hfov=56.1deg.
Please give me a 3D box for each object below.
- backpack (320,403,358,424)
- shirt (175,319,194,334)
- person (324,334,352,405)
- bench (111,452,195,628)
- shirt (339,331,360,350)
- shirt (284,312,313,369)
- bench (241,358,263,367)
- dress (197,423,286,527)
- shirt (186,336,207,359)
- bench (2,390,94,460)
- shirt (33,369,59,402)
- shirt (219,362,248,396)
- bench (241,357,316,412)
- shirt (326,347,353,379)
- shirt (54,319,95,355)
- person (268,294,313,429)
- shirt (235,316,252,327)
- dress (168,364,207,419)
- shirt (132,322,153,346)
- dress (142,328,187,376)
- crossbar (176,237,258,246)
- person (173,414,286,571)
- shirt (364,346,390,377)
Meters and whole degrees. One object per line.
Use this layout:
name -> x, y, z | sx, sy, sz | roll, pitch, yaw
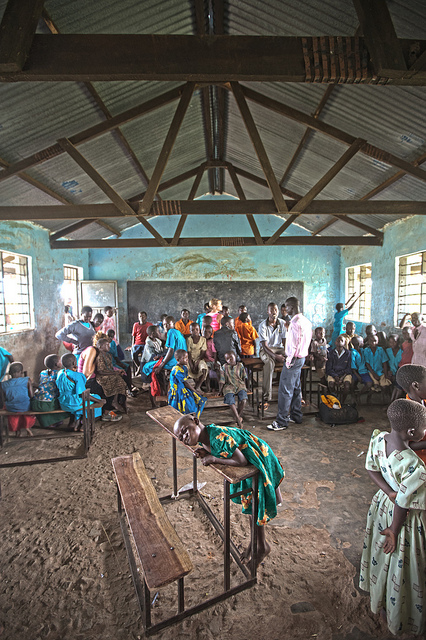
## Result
backpack -> 1.562, 1.152, 4.900 | 0.269, 0.112, 0.275 | 0, 0, 3
shirt -> -0.533, 0.133, 7.049 | 0.401, 0.399, 0.227 | 0, -3, -2
person -> 1.743, 0.667, 5.533 | 0.503, 0.922, 0.301 | -4, 6, -32
bench -> -0.385, 1.179, 2.263 | 0.219, 0.295, 1.237 | -4, 5, -21
shirt -> 2.007, 0.312, 5.853 | 0.285, 0.287, 0.086 | -1, -3, -6
shirt -> 0.989, 0.236, 4.724 | 0.259, 0.616, 0.297 | 7, 4, 3
bench -> 0.509, 0.554, 5.177 | 0.258, 0.055, 0.282 | -1, 4, -8
dress -> 0.207, 0.777, 2.344 | 0.460, 0.589, 0.491 | 3, 5, -18
shirt -> -0.228, 0.387, 5.555 | 0.332, 0.349, 0.133 | 1, -6, -1
bench -> -1.757, 1.101, 4.282 | 1.015, 0.611, 0.659 | -1, 14, -11
shirt -> -1.649, 0.648, 3.942 | 0.260, 0.299, 0.146 | -4, 6, -33
shirt -> 0.240, 0.676, 4.794 | 0.480, 0.491, 0.317 | 0, -7, 5
bench -> 0.796, 0.761, 5.600 | 1.074, 0.738, 0.827 | 3, 4, -8
shirt -> 1.714, 0.573, 5.570 | 0.451, 0.543, 0.340 | 1, 1, 3
shirt -> -2.025, 0.223, 5.843 | 0.511, 0.415, 0.299 | -2, 5, -14
person -> 0.927, 0.516, 4.721 | 0.350, 1.541, 0.506 | 3, 7, 35
shirt -> 0.473, 0.060, 6.432 | 0.148, 0.193, 0.173 | -5, 29, 14
dress -> -0.266, 0.755, 4.432 | 0.400, 0.552, 0.373 | 8, 4, -4
shirt -> -1.207, 0.240, 6.821 | 0.466, 0.499, 0.268 | 1, -7, -2
dress -> -0.644, 0.290, 5.577 | 0.412, 0.979, 0.390 | 2, 4, 27
crossbar -> 0.059, -1.374, 6.987 | 1.362, 0.149, 0.282 | -1, 4, -8
person -> 0.113, 0.967, 2.227 | 0.612, 0.813, 0.346 | -3, -10, -3
shirt -> 2.355, 0.611, 5.693 | 0.387, 0.424, 0.159 | -7, -17, 29
